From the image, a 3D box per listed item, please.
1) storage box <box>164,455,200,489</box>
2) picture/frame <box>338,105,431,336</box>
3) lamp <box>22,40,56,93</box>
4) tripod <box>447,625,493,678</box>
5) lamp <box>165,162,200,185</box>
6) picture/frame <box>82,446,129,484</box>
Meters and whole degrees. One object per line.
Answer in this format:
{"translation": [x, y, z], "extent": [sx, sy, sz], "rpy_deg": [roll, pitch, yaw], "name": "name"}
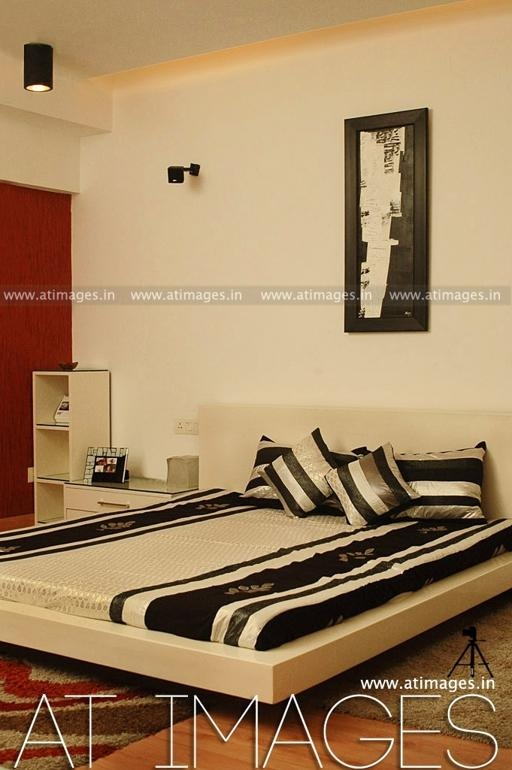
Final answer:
{"translation": [-0.466, 0.536, 4.155], "extent": [0.194, 0.187, 0.200], "rpy_deg": [2, 2, 41], "name": "storage box"}
{"translation": [0.690, -0.866, 3.542], "extent": [0.538, 1.178, 0.169], "rpy_deg": [-4, -7, 33], "name": "picture/frame"}
{"translation": [-1.194, -1.745, 3.651], "extent": [0.148, 0.221, 0.136], "rpy_deg": [-3, 9, -33], "name": "lamp"}
{"translation": [0.676, 0.816, 2.026], "extent": [0.109, 0.142, 0.085], "rpy_deg": [0, 3, -19], "name": "tripod"}
{"translation": [-0.453, -1.324, 4.188], "extent": [0.239, 0.163, 0.128], "rpy_deg": [0, 6, -2], "name": "lamp"}
{"translation": [-0.996, 0.534, 4.356], "extent": [0.235, 0.196, 0.024], "rpy_deg": [-1, -17, 20], "name": "picture/frame"}
